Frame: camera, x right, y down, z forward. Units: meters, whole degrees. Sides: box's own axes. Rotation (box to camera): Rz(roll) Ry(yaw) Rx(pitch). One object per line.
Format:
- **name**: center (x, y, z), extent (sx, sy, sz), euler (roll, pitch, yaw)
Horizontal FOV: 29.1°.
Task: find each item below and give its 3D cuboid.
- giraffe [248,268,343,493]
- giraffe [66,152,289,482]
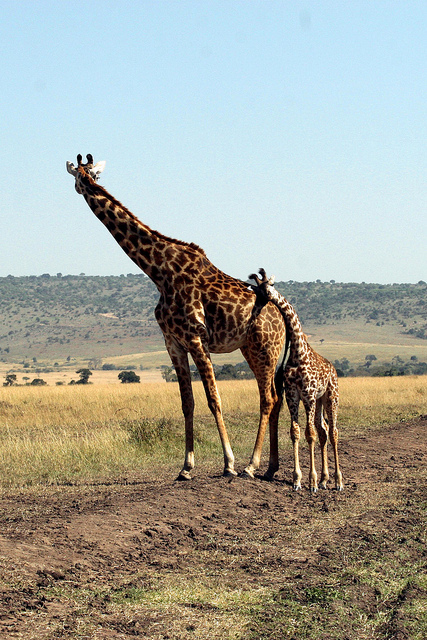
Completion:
- **giraffe**: center (1.158, 0.782, 10.603), extent (1.018, 2.802, 3.178), euler (0, 0, 9)
- **giraffe**: center (-0.293, 0.008, 10.850), extent (2.509, 4.222, 1.082), euler (0, 0, 2)
